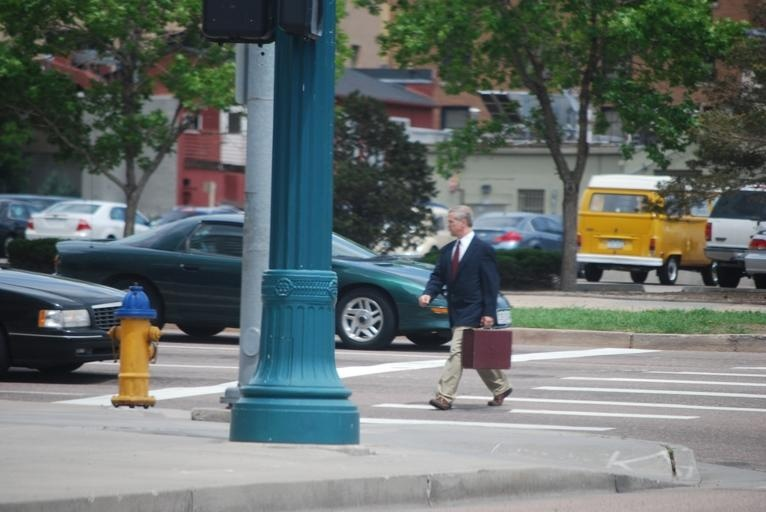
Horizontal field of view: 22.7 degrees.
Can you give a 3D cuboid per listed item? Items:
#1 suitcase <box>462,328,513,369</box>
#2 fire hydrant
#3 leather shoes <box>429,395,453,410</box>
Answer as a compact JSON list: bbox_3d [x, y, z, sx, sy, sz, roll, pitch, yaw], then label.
[{"bbox_3d":[1.821,1.663,33.583,0.908,0.653,0.288,0,2,-3],"label":"suitcase"},{"bbox_3d":[-4.237,1.577,33.245,1.029,1.985,1.220,1,-1,-4],"label":"fire hydrant"},{"bbox_3d":[1.036,2.617,33.650,0.403,0.246,0.276,1,13,-3],"label":"leather shoes"}]
